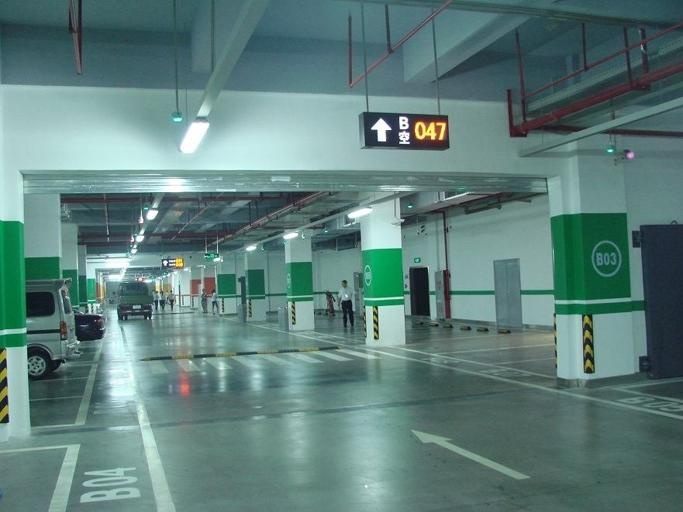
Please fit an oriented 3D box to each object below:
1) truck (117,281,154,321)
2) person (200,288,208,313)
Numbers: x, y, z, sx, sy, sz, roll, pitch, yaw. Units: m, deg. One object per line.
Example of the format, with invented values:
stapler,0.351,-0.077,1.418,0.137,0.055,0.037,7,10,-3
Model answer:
truck,-13.558,2.800,40.532,1.650,1.642,3.318,0,3,-18
person,-10.527,3.543,47.551,0.397,1.321,1.596,-2,0,-15
